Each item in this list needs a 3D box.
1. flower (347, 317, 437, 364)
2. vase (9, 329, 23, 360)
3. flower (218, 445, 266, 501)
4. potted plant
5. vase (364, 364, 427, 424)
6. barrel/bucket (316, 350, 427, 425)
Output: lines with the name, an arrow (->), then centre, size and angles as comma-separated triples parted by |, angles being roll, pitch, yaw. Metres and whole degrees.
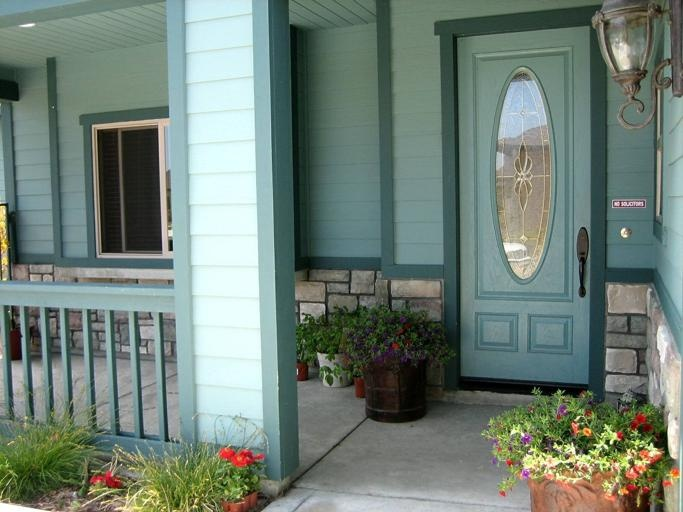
flower -> 0.415, 0.680, 4.887 | 0.560, 0.302, 0.618 | 1, 12, 35
vase -> -3.709, 1.002, 7.040 | 0.101, 0.328, 0.262 | -6, 9, -29
flower -> -0.560, 1.245, 3.664 | 0.270, 0.323, 0.255 | 1, 1, 24
potted plant -> -0.142, 0.842, 5.621 | 0.843, 0.876, 0.629 | 0, -4, -4
vase -> 0.421, 1.058, 4.914 | 0.444, 0.470, 0.445 | -2, -3, 28
barrel/bucket -> 0.418, 1.019, 4.783 | 0.447, 0.480, 0.490 | -1, -3, 0
